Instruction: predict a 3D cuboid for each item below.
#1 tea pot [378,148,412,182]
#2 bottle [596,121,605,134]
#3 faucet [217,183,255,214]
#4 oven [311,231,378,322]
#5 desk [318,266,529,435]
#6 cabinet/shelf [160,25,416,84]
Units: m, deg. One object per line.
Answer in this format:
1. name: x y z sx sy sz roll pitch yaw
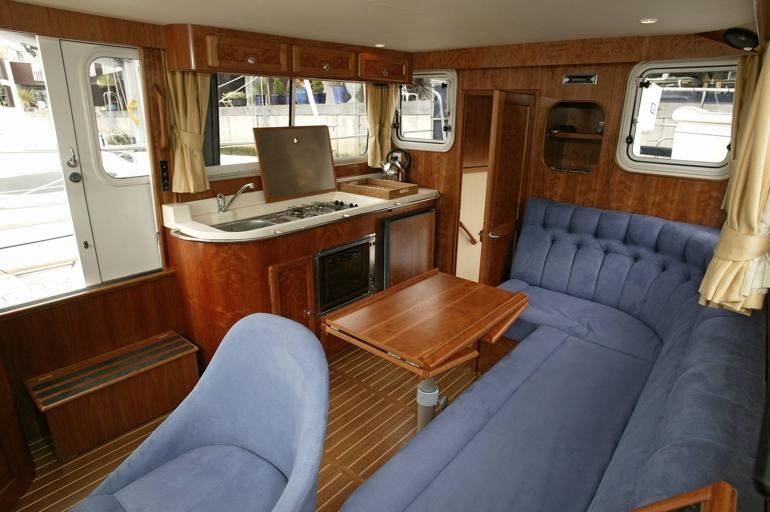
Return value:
1. tea pot: 0.101 -1.025 5.481 0.297 0.411 0.396 -3 25 -7
2. bottle: 1.927 -1.151 4.353 0.045 0.110 0.190 4 21 15
3. faucet: -1.336 -0.534 4.326 0.309 0.253 0.399 -9 22 -19
4. oven: -0.457 0.146 4.602 0.422 0.633 0.765 18 26 39
5. desk: 0.311 0.390 3.296 1.054 0.766 1.252 17 30 36
6. cabinet/shelf: -0.935 -1.721 4.174 1.712 0.424 0.287 -15 25 -32
